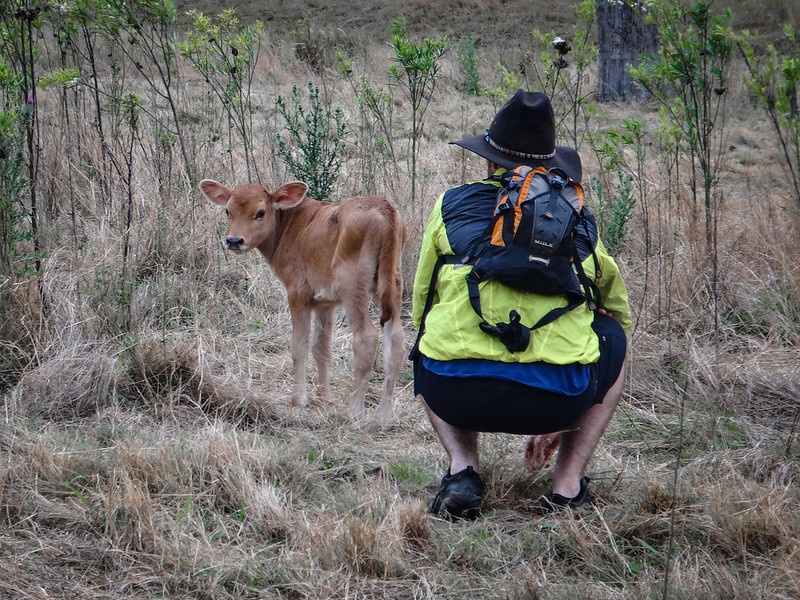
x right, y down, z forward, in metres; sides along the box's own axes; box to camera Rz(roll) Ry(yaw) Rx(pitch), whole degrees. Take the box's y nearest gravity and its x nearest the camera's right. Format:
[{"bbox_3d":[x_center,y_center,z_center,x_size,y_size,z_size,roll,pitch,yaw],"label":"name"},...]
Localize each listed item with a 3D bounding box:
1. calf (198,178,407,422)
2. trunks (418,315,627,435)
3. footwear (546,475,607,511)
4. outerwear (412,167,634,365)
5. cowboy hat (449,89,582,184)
[{"bbox_3d":[-0.708,-0.048,7.305,1.873,1.756,0.989,2,0,42],"label":"calf"},{"bbox_3d":[0.881,0.494,6.331,1.530,0.597,1.450,-1,6,-34],"label":"trunks"},{"bbox_3d":[1.110,1.240,5.910,0.143,0.205,0.436,9,21,44],"label":"footwear"},{"bbox_3d":[0.728,-0.157,5.890,1.287,1.325,0.926,13,-6,-4],"label":"outerwear"},{"bbox_3d":[0.796,-1.105,6.070,0.819,0.512,0.933,0,23,-17],"label":"cowboy hat"}]
